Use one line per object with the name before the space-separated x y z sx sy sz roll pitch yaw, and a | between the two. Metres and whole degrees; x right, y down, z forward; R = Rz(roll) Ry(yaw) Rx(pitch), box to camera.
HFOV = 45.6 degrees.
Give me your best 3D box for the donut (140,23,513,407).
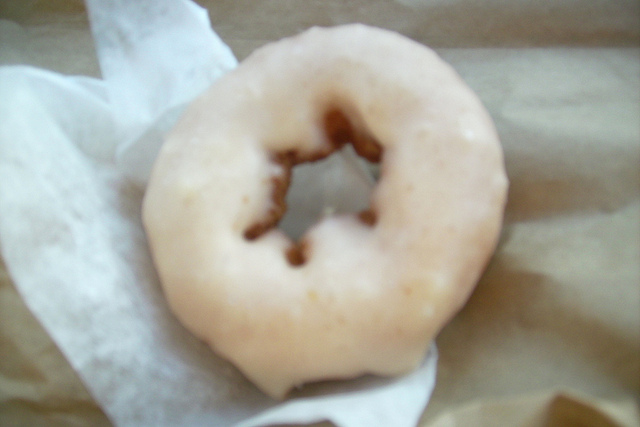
donut | 0.003 -0.014 1.084 0.489 0.108 0.536 33 84 5
